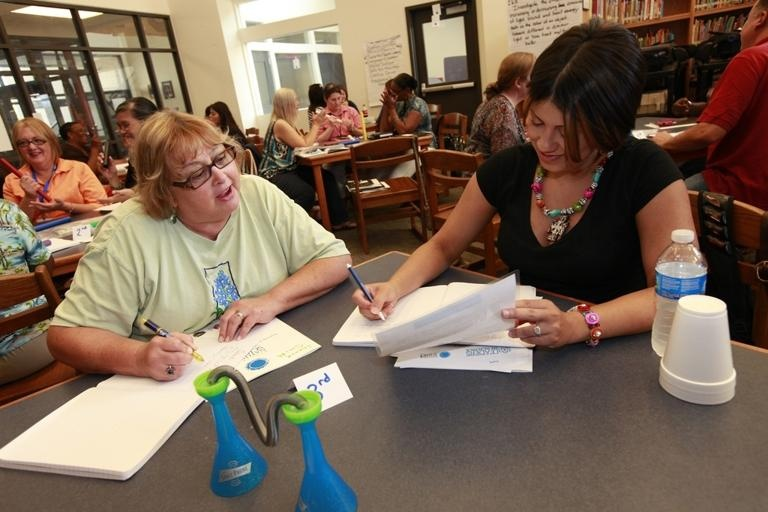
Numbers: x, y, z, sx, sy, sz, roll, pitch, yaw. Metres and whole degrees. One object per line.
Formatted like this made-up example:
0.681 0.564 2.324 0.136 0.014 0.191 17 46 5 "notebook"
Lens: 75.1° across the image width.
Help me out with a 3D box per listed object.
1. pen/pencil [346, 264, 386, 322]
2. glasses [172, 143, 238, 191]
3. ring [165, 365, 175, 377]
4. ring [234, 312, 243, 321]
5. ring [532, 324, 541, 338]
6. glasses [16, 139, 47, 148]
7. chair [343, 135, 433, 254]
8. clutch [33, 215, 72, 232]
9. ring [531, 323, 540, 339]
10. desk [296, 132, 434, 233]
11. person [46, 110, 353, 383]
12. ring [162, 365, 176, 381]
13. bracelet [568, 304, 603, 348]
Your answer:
-0.059 0.126 1.626 0.019 0.188 0.019 -26 -12 -5 "pen/pencil"
-0.575 -0.290 1.649 0.077 0.101 0.243 16 34 42 "glasses"
-0.595 0.322 1.397 0.018 0.024 0.025 6 16 1 "ring"
-0.448 0.189 1.547 0.022 0.009 0.019 -7 14 -35 "ring"
0.401 0.197 1.309 0.019 0.027 0.007 -6 3 5 "ring"
-2.325 -0.749 3.307 0.163 0.060 0.049 -22 28 -30 "glasses"
0.047 -0.501 4.184 0.742 1.294 0.857 -4 48 0 "chair"
-2.004 -0.195 3.031 0.177 0.041 0.035 -18 45 -41 "clutch"
0.397 0.199 1.303 0.020 0.028 0.008 -9 -2 2 "ring"
-0.282 -0.852 4.392 1.096 0.817 0.890 -16 27 -20 "desk"
-0.630 -0.007 1.749 1.023 0.875 0.573 -24 35 -38 "person"
-0.601 0.328 1.394 0.027 0.038 0.022 -1 6 -5 "ring"
0.541 0.189 1.339 0.064 0.105 0.100 -20 -10 -27 "bracelet"
